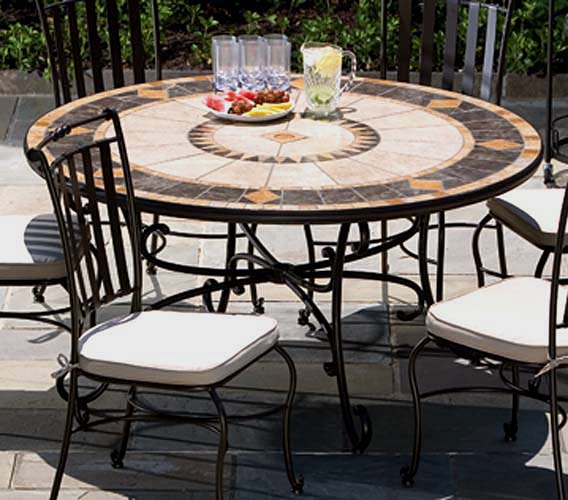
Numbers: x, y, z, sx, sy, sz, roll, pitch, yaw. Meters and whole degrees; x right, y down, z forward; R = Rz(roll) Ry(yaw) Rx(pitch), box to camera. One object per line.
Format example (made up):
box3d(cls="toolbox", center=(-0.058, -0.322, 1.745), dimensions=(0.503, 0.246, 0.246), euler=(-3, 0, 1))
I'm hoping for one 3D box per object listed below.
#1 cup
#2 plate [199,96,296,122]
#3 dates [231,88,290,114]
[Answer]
box3d(cls="cup", center=(-0.138, -0.757, 2.849), dimensions=(0.288, 0.267, 0.271), euler=(-1, 22, 0))
box3d(cls="plate", center=(-0.134, -0.570, 2.711), dimensions=(0.294, 0.089, 0.240), euler=(-20, 27, -36))
box3d(cls="dates", center=(-0.092, -0.571, 2.684), dimensions=(0.231, 0.115, 0.204), euler=(14, 25, 40))
